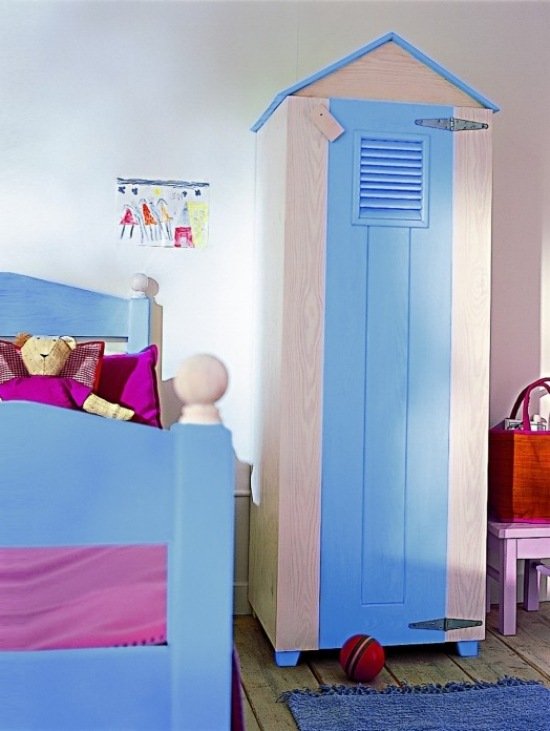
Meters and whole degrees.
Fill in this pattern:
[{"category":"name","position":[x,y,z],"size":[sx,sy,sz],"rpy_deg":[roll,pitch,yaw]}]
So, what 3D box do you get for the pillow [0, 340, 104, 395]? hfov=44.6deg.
[{"category":"pillow","position":[-0.568,-0.006,1.783],"size":[0.209,0.150,0.055],"rpy_deg":[4,-12,-20]}]
